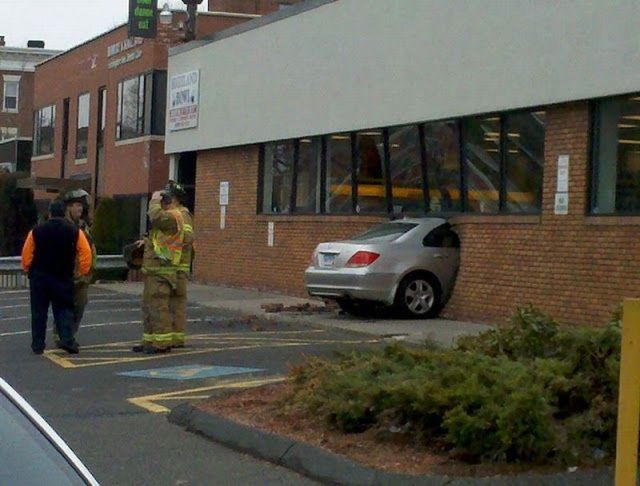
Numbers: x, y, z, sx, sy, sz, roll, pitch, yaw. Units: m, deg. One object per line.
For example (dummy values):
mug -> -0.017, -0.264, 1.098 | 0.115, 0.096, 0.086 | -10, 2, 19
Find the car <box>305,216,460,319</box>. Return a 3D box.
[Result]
car -> 1.326, 0.484, 13.448 | 3.395, 1.313, 1.590 | -6, 4, -43

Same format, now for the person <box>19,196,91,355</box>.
person -> -3.989, 0.517, 9.986 | 0.948, 2.306, 0.410 | 0, 1, -23

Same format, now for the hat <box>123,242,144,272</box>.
hat -> -6.109, 0.496, 21.595 | 0.919, 0.884, 0.938 | 1, -8, -1

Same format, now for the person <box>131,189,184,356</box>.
person -> -2.373, 0.424, 10.237 | 0.472, 2.488, 0.786 | 1, 1, 42

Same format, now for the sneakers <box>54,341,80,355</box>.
sneakers -> -3.831, 1.555, 10.000 | 0.327, 0.157, 0.182 | 26, -2, 15
